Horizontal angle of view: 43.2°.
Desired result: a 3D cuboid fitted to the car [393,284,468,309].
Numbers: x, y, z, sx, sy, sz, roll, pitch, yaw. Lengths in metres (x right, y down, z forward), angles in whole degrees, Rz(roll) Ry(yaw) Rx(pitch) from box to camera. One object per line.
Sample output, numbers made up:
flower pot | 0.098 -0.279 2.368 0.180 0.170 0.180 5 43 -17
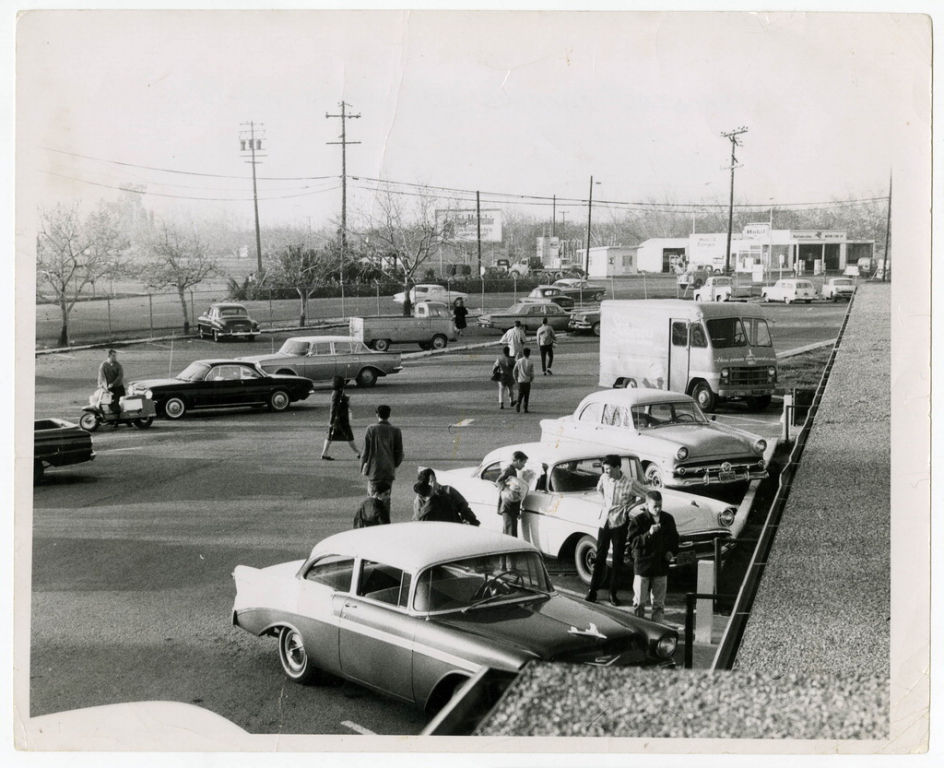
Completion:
car | -1.927 -3.758 57.111 3.560 1.374 1.755 -2 14 -5

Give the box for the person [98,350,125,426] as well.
person | -7.736 0.067 25.550 0.517 1.723 0.912 -4 10 -18

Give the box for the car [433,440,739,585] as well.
car | 1.533 1.568 16.454 1.809 1.645 3.921 -6 10 -41

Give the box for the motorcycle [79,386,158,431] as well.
motorcycle | -7.798 0.523 26.113 1.566 1.145 0.818 0 3 -19

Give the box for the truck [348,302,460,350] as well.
truck | -2.134 -1.701 39.614 2.916 1.478 1.547 -5 11 -27

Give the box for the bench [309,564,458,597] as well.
bench | -0.973 2.061 12.758 0.899 0.265 0.566 1 -1 16

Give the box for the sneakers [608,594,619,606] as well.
sneakers | 1.803 2.730 14.958 0.123 0.131 0.117 6 45 19

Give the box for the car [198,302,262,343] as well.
car | -9.339 -2.325 44.921 1.128 1.127 2.832 -2 5 -23

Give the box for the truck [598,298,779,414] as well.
truck | 4.756 -0.820 27.018 3.490 2.263 2.215 6 9 42

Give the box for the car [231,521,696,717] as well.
car | -0.411 2.342 12.951 3.900 1.574 1.991 4 8 32
